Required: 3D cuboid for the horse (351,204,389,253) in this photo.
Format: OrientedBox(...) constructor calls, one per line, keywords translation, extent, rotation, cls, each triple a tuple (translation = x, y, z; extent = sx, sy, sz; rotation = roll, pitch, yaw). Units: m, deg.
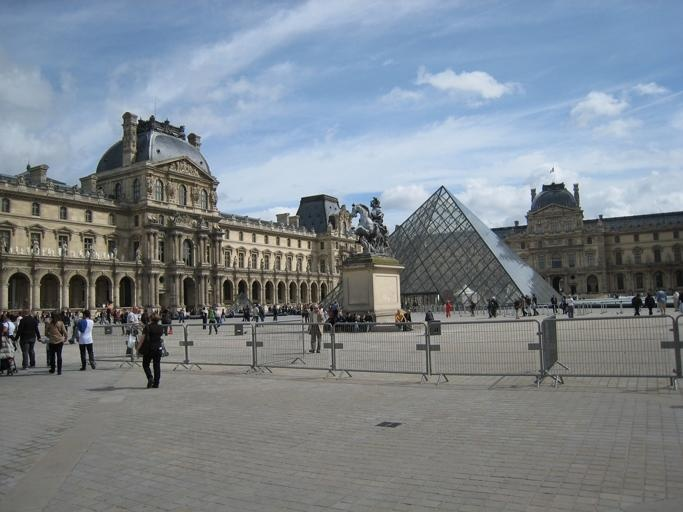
OrientedBox(translation=(1.479, -1.540, 34.538), extent=(2.420, 2.991, 0.989), rotation=(18, -26, -38), cls="horse")
